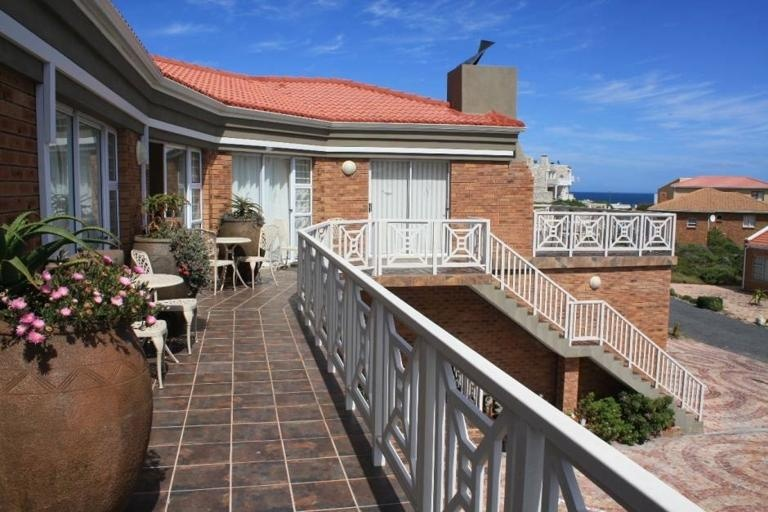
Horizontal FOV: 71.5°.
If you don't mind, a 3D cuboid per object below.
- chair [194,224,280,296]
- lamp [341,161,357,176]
[{"bbox_3d":[-3.161,0.075,11.264,1.550,1.069,1.460,-1,3,6],"label":"chair"},{"bbox_3d":[-0.976,-2.438,14.845,0.426,0.384,0.229,8,-7,-13],"label":"lamp"}]
